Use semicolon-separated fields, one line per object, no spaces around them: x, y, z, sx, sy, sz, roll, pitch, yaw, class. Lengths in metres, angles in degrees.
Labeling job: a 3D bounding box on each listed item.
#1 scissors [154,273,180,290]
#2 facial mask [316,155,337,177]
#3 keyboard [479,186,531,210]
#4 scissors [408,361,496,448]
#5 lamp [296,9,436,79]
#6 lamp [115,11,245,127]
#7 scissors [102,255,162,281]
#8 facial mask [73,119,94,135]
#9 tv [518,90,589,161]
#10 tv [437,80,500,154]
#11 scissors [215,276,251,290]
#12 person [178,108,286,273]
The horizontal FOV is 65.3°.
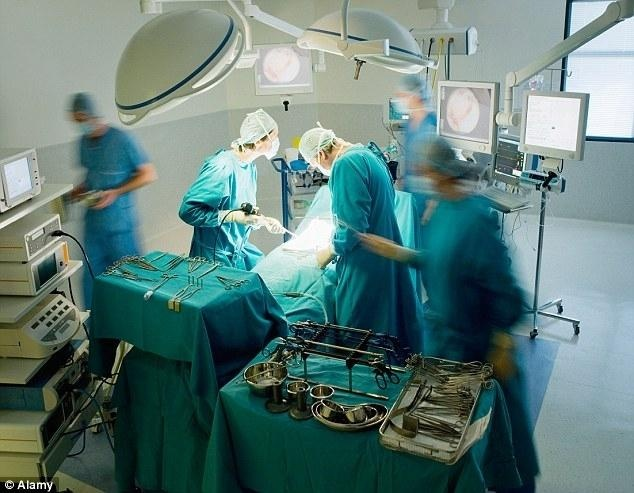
-0.655;0.153;2.145;0.084;0.028;0.178;2;12;-6;scissors
0.045;-0.492;2.945;0.076;0.144;0.115;-15;7;37;facial mask
1.225;-0.319;3.233;0.262;0.067;0.275;-14;36;-36;keyboard
0.434;0.495;1.671;0.277;0.128;0.364;8;12;21;scissors
0.171;-0.713;1.722;0.275;0.170;0.294;14;17;2;lamp
-0.380;-0.504;1.398;0.357;0.325;0.156;-2;11;-25;lamp
-0.823;0.097;2.280;0.272;0.049;0.249;5;12;8;scissors
-1.419;-0.713;2.963;0.073;0.063;0.079;3;10;-6;facial mask
1.552;-0.798;3.267;0.081;0.519;0.482;-4;16;-39;tv
1.081;-0.922;3.519;0.092;0.620;0.673;-15;26;-26;tv
-0.384;0.158;2.116;0.137;0.024;0.102;7;12;16;scissors
-0.486;-0.326;3.033;0.616;1.023;0.705;10;13;35;person
